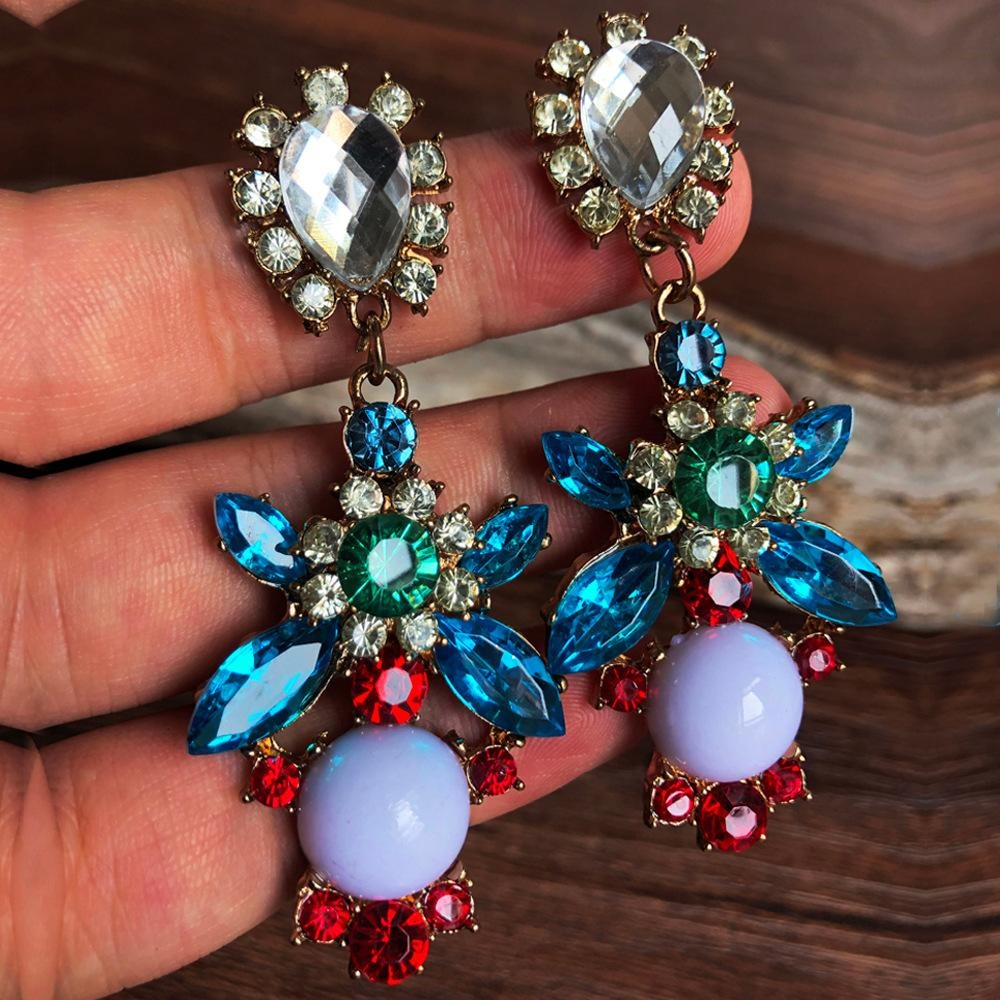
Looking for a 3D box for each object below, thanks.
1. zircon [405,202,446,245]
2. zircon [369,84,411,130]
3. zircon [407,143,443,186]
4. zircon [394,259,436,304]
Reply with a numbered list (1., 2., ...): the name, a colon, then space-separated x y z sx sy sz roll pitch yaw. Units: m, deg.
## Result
1. zircon: -0.109 -0.416 1.898 0.073 0.057 0.028 5 3 -4
2. zircon: -0.161 -0.585 1.863 0.069 0.066 0.028 14 9 -12
3. zircon: -0.108 -0.502 1.881 0.071 0.058 0.023 -4 10 -8
4. zircon: -0.127 -0.330 1.895 0.078 0.060 0.033 -6 5 2
